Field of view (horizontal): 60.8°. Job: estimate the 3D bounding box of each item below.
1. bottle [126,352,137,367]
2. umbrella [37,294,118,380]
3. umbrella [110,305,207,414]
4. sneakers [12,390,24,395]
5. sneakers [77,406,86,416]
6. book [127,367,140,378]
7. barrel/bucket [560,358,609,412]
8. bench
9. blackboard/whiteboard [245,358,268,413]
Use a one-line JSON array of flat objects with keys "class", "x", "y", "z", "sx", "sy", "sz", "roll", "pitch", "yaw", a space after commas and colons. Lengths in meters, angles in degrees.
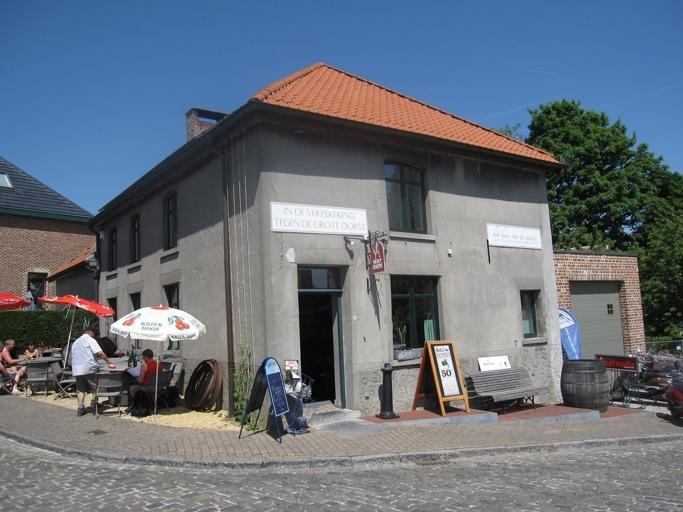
[{"class": "bottle", "x": -6.634, "y": 3.271, "z": 18.389, "sx": 0.227, "sy": 0.420, "sz": 0.218, "roll": -1, "pitch": -6, "yaw": 0}, {"class": "umbrella", "x": -8.825, "y": 2.666, "z": 19.465, "sx": 2.179, "sy": 2.444, "sz": 2.351, "roll": 17, "pitch": 7, "yaw": 28}, {"class": "umbrella", "x": -4.538, "y": 2.494, "z": 14.466, "sx": 2.264, "sy": 2.607, "sz": 2.344, "roll": 8, "pitch": 6, "yaw": 27}, {"class": "sneakers", "x": -9.816, "y": 4.110, "z": 17.593, "sx": 0.374, "sy": 0.170, "sz": 0.130, "roll": -14, "pitch": -15, "yaw": 37}, {"class": "sneakers", "x": -6.307, "y": 3.713, "z": 14.091, "sx": 0.177, "sy": 0.267, "sz": 0.383, "roll": 1, "pitch": 2, "yaw": -23}, {"class": "book", "x": -5.543, "y": 3.066, "z": 15.494, "sx": 0.332, "sy": 0.114, "sz": 0.342, "roll": 21, "pitch": 9, "yaw": 38}, {"class": "barrel/bucket", "x": 6.686, "y": 3.553, "z": 16.317, "sx": 1.291, "sy": 1.386, "sz": 1.253, "roll": 0, "pitch": -10, "yaw": 0}, {"class": "bench", "x": 4.497, "y": 3.609, "z": 15.461, "sx": 2.163, "sy": 1.069, "sz": 0.804, "roll": 0, "pitch": -3, "yaw": -30}, {"class": "blackboard/whiteboard", "x": -1.822, "y": 2.807, "z": 12.488, "sx": 0.338, "sy": 1.111, "sz": 1.079, "roll": 14, "pitch": -14, "yaw": 9}]
